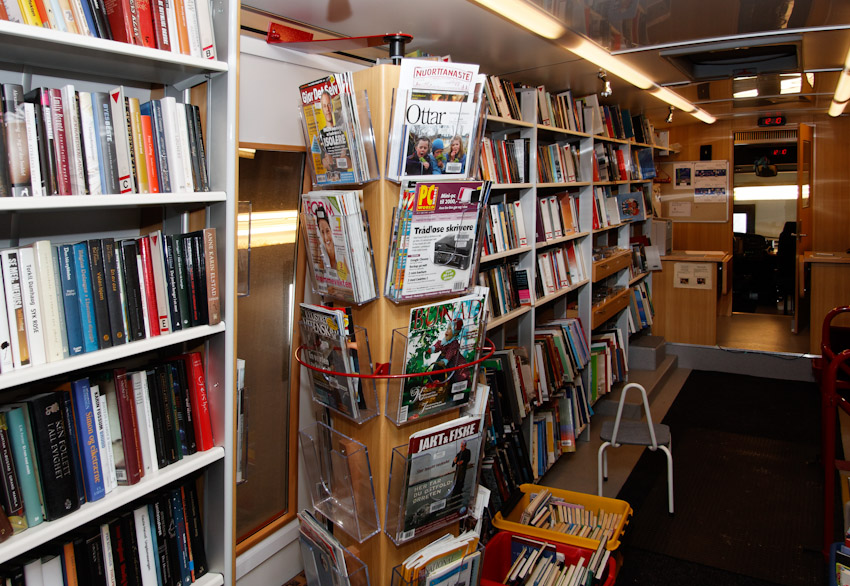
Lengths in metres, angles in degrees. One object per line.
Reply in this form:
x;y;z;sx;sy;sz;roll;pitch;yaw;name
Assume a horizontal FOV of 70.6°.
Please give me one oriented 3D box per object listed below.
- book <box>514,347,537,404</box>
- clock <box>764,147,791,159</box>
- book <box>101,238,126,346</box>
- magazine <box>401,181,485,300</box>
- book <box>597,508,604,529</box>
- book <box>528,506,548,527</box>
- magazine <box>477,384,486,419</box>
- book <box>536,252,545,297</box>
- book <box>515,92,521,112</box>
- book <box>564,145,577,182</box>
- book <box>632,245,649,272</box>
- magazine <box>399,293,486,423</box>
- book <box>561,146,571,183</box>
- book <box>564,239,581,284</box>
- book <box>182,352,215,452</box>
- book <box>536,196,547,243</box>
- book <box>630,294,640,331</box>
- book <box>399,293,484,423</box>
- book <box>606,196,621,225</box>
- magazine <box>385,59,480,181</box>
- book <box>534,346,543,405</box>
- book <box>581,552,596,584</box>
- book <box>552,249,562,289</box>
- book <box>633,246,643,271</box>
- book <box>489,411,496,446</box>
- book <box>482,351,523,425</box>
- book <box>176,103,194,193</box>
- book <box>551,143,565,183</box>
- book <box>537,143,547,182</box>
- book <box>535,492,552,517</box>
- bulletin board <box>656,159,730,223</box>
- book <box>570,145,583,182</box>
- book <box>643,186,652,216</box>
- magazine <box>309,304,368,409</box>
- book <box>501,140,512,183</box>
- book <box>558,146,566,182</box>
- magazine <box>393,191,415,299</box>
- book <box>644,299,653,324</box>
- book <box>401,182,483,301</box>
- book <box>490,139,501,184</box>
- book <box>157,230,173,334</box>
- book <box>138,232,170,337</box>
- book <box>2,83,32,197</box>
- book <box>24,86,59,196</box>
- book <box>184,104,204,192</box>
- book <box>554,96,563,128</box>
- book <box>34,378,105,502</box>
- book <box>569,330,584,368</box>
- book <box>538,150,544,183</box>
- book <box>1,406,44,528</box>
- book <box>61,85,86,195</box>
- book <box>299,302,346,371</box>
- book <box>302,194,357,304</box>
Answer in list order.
0.711;0.572;4.219;0.070;0.318;0.295;-3;2;-7;book
5.341;-2.128;9.101;0.287;0.265;0.156;6;13;32;clock
-1.119;-0.002;2.145;0.046;0.420;0.326;-10;11;-24;book
0.071;-0.276;2.895;0.516;0.627;0.081;-11;31;-43;magazine
1.082;1.397;3.726;0.025;0.015;0.129;-6;23;21;book
0.701;1.381;3.686;0.027;0.051;0.242;8;15;37;book
0.308;0.570;3.200;0.027;0.152;0.098;4;-3;13;magazine
0.866;-0.127;4.525;0.105;0.297;0.031;-10;14;-42;book
0.672;-1.427;4.386;0.042;0.088;0.082;5;11;0;book
1.198;-1.075;4.972;0.048;0.224;0.217;-3;13;21;book
2.544;-0.418;7.120;0.151;0.295;0.300;3;7;38;book
0.070;0.303;2.996;0.597;0.751;0.096;-7;22;-42;magazine
1.141;-1.060;4.896;0.049;0.226;0.219;-11;-1;10;book
1.242;-0.258;5.080;0.056;0.434;0.323;-9;3;23;book
-0.909;0.441;2.414;0.069;0.310;0.300;-6;4;-16;book
0.870;-0.546;4.474;0.076;0.307;0.099;2;11;11;book
2.388;0.230;6.840;0.073;0.304;0.316;-12;-5;10;book
0.068;0.303;2.994;0.612;0.745;0.100;-6;21;-43;book
1.908;-0.837;6.092;0.155;0.282;0.288;-1;14;10;book
0.072;-0.773;2.601;0.433;0.431;0.105;1;17;-22;magazine
0.826;0.621;4.412;0.067;0.303;0.298;-4;18;8;book
0.884;1.498;3.248;0.038;0.012;0.132;7;50;38;book
1.048;-0.194;4.796;0.042;0.319;0.028;-11;-1;-13;book
2.489;-0.434;7.032;0.049;0.199;0.212;-2;19;26;book
0.427;0.893;3.841;0.030;0.190;0.057;5;12;26;book
0.572;0.625;4.041;0.098;0.465;0.450;-6;3;-6;book
-0.919;-0.561;2.287;0.037;0.343;0.251;-9;19;-23;book
1.066;-1.044;4.809;0.053;0.243;0.228;-3;-4;-7;book
0.903;-1.019;4.632;0.044;0.342;0.044;-12;3;25;book
0.766;1.320;3.807;0.037;0.032;0.275;21;29;27;book
3.683;-1.419;8.184;0.865;0.938;0.042;-2;11;33;bulletin board
1.309;-1.119;5.184;0.051;0.236;0.229;-1;14;26;book
2.759;-1.148;7.453;0.100;0.332;0.094;2;11;13;book
-0.416;0.298;2.939;0.070;0.697;0.508;-6;4;-27;magazine
0.551;-0.885;4.056;0.044;0.206;0.201;0;16;12;book
1.105;-1.041;4.855;0.031;0.313;0.029;-7;-1;-19;book
-0.094;-0.224;2.816;0.101;0.513;0.043;8;13;36;magazine
2.714;0.223;7.292;0.075;0.347;0.049;-23;17;-7;book
0.067;-0.272;2.893;0.536;0.644;0.084;-8;28;-43;book
0.446;-0.855;3.905;0.056;0.271;0.114;8;14;39;book
-0.968;-0.053;2.265;0.045;0.331;0.027;-8;16;-19;book
-1.018;-0.036;2.243;0.054;0.386;0.318;-9;14;-26;book
-1.321;-0.486;1.936;0.057;0.468;0.329;-2;5;-31;book
-1.274;-0.503;1.987;0.044;0.426;0.312;-9;11;-38;book
-0.895;-0.552;2.313;0.034;0.334;0.249;-9;22;-21;book
1.068;-1.452;4.813;0.037;0.277;0.032;-8;4;-4;book
-1.251;0.519;2.095;0.138;0.457;0.407;-6;8;-38;book
1.263;0.471;5.030;0.063;0.286;0.281;-12;30;15;book
0.883;-0.970;4.569;0.052;0.231;0.115;1;11;9;book
-1.344;0.588;2.019;0.069;0.313;0.294;-9;9;-14;book
-1.202;-0.522;2.046;0.038;0.395;0.302;-6;13;-28;book
-0.471;0.188;2.912;0.068;0.299;0.276;-13;19;-38;book
-0.457;-0.234;2.910;0.096;0.558;0.467;-17;18;-28;book
